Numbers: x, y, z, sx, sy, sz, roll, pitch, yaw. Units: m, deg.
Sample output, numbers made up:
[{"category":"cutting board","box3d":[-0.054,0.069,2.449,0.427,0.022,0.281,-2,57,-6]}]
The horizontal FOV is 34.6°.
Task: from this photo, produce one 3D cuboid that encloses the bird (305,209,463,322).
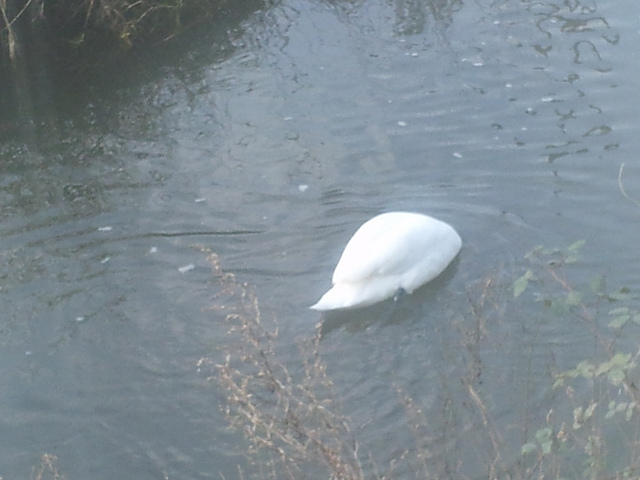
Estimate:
[{"category":"bird","box3d":[0.894,0.290,13.720,2.068,0.832,1.132,-31,53,-12]}]
